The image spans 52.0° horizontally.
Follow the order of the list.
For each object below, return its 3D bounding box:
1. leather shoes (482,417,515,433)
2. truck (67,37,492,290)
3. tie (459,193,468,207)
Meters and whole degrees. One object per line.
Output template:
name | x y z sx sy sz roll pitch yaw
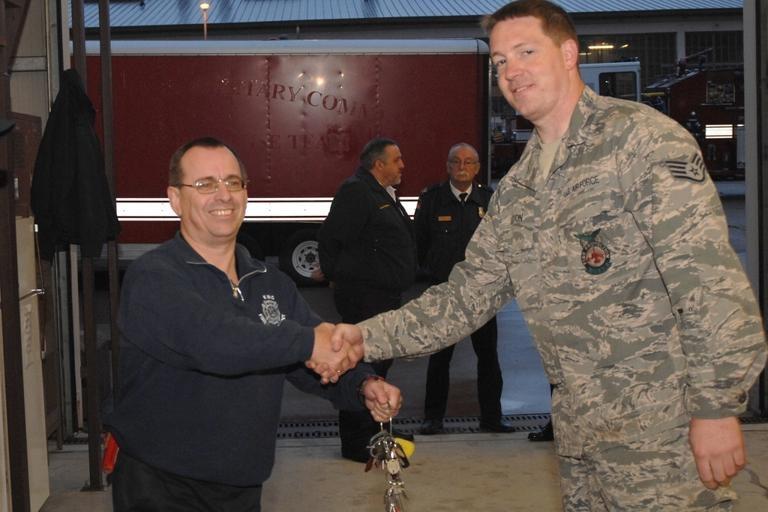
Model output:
leather shoes | 0.979 1.489 6.943 0.334 0.148 0.112 -1 -1 4
truck | -1.274 -1.347 12.073 6.730 3.457 2.039 3 3 22
tie | 0.740 -0.519 7.370 0.082 0.113 0.042 -1 -16 6
